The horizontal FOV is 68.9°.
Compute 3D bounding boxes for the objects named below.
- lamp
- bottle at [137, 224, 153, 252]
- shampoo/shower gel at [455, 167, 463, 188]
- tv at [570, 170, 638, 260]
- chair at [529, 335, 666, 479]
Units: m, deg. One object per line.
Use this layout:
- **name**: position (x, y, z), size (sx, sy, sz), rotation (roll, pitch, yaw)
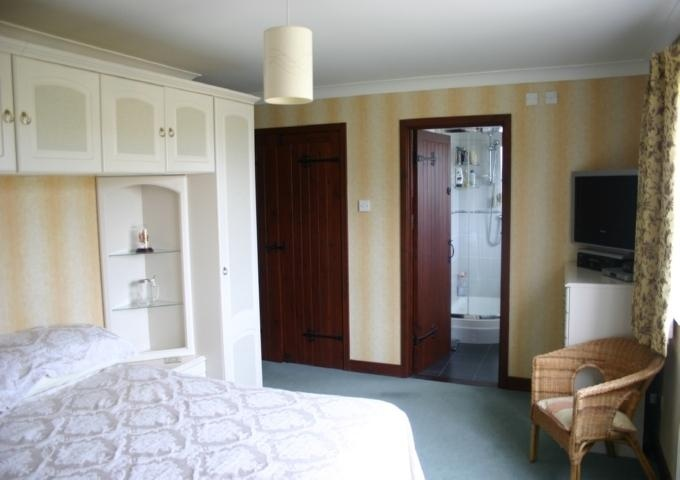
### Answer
- **lamp**: position (-0.277, -0.942, 2.679), size (0.280, 0.386, 0.206), rotation (-5, 14, -10)
- **bottle**: position (-1.595, -0.009, 4.021), size (0.123, 0.194, 0.255), rotation (-8, 14, -22)
- **shampoo/shower gel**: position (1.629, -0.862, 6.775), size (0.109, 0.256, 0.038), rotation (1, 14, 12)
- **tv**: position (2.295, -0.226, 4.286), size (0.093, 0.662, 0.756), rotation (-4, 5, -16)
- **chair**: position (1.845, 1.142, 3.894), size (0.936, 1.223, 1.026), rotation (1, -2, -12)
